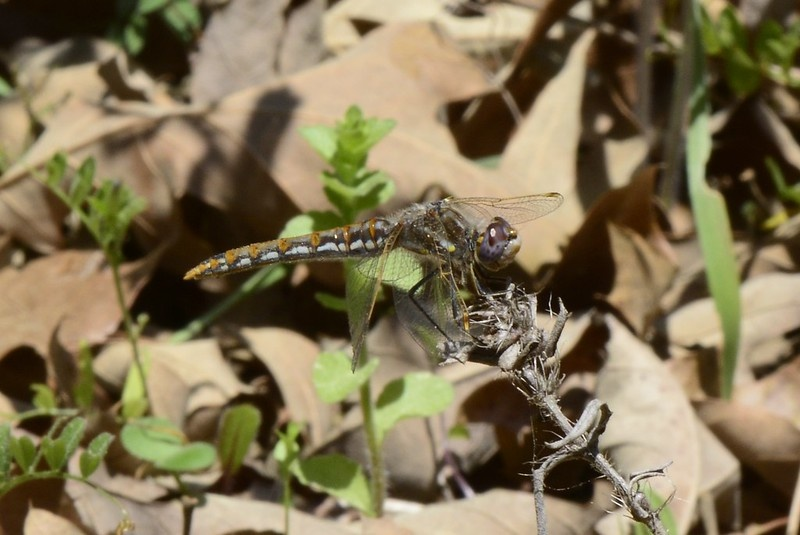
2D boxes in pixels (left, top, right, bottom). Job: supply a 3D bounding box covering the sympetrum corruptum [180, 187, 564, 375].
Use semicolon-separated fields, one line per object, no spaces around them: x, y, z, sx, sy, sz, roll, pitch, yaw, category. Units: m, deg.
0.001;-0.012;1.877;0.425;0.373;0.150;-1;49;2;sympetrum corruptum
